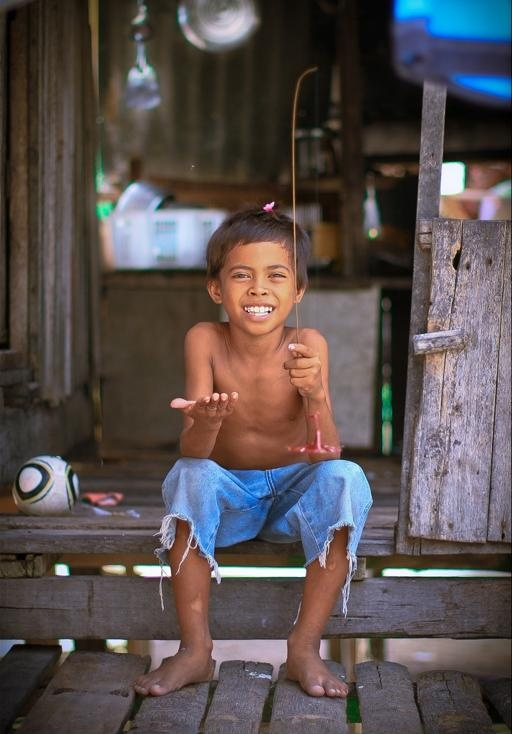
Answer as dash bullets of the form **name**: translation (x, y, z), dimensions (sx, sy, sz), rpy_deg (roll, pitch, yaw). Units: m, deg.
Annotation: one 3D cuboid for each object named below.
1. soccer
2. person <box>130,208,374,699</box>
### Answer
- **soccer**: translation (-0.651, 0.396, 3.504), dimensions (0.199, 0.179, 0.197), rpy_deg (24, -37, -35)
- **person**: translation (0.039, 0.180, 3.064), dimensions (0.573, 1.290, 0.791), rpy_deg (2, 7, 6)
